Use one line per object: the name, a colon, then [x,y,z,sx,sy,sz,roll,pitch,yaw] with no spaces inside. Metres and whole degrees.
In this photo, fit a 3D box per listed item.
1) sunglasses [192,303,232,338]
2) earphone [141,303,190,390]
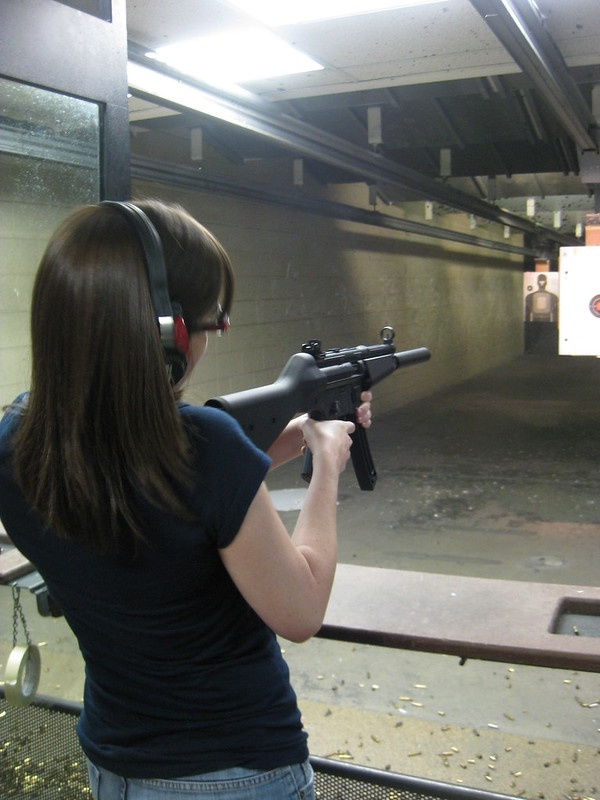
sunglasses: [-0.082,-0.064,0.603,0.011,0.020,0.057,2,15,14]
earphone: [-0.099,-0.039,0.498,0.034,0.044,0.017,8,-13,-41]
